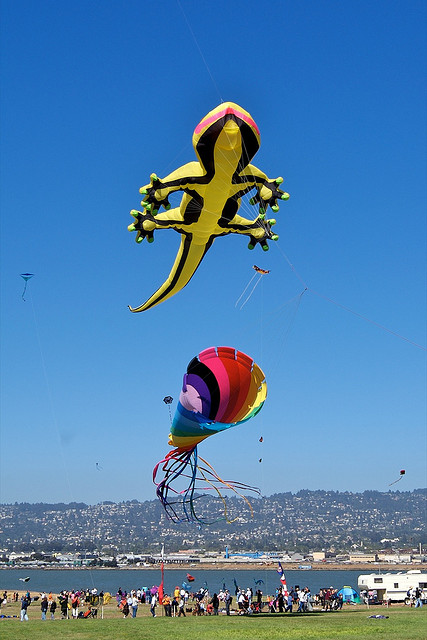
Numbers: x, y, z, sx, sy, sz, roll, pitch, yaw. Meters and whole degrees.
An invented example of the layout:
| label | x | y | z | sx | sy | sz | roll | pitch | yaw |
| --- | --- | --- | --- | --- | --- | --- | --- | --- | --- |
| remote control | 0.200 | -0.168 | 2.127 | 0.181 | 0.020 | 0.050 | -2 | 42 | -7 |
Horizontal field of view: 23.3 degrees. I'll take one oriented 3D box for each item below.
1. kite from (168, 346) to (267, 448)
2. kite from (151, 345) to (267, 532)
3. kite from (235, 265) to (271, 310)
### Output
| label | x | y | z | sx | sy | sz | roll | pitch | yaw |
| --- | --- | --- | --- | --- | --- | --- | --- | --- | --- |
| kite | 0.171 | 2.922 | 41.080 | 3.527 | 3.144 | 2.974 | 0 | -15 | -5 |
| kite | -0.230 | 5.027 | 42.505 | 4.195 | 7.367 | 5.040 | -6 | 5 | -44 |
| kite | 1.651 | -1.026 | 39.167 | 0.940 | 2.153 | 0.746 | -2 | -15 | -3 |
